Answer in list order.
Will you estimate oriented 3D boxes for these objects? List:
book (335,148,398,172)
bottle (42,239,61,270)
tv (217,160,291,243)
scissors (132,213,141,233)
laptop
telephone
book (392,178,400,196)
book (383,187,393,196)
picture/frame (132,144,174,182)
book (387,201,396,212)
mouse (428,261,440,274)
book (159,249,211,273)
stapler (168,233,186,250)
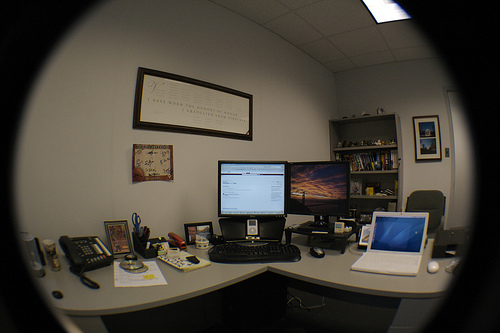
[{"bbox_3d":[1.512,-0.088,4.539,0.259,0.267,0.832,-3,3,-43],"label":"book"},{"bbox_3d":[-1.207,0.526,2.129,0.170,0.174,0.075,1,4,45],"label":"bottle"},{"bbox_3d":[0.020,0.254,2.607,0.583,0.689,0.099,1,0,0],"label":"tv"},{"bbox_3d":[-0.822,0.397,2.544,0.071,0.135,0.043,-2,3,-28],"label":"scissors"},{"bbox_3d":[0.953,0.501,2.307,0.350,0.288,0.468,0,5,27],"label":"laptop"},{"bbox_3d":[-1.034,0.524,2.229,0.269,0.086,0.363,-3,19,-39],"label":"telephone"},{"bbox_3d":[1.795,0.252,4.315,0.067,0.192,0.205,1,-2,12],"label":"book"},{"bbox_3d":[1.733,0.309,4.385,0.091,0.024,0.097,-23,28,-29],"label":"book"},{"bbox_3d":[-0.732,-0.031,2.631,0.301,0.267,0.027,0,0,-32],"label":"picture/frame"},{"bbox_3d":[1.693,0.474,4.202,0.109,0.115,0.085,4,3,16],"label":"book"},{"bbox_3d":[1.107,0.599,2.124,0.056,0.038,0.069,-13,11,-2],"label":"mouse"},{"bbox_3d":[-0.434,0.610,2.261,0.236,0.031,0.147,12,11,38],"label":"book"},{"bbox_3d":[-0.527,0.531,2.519,0.060,0.083,0.224,0,2,-38],"label":"stapler"}]
